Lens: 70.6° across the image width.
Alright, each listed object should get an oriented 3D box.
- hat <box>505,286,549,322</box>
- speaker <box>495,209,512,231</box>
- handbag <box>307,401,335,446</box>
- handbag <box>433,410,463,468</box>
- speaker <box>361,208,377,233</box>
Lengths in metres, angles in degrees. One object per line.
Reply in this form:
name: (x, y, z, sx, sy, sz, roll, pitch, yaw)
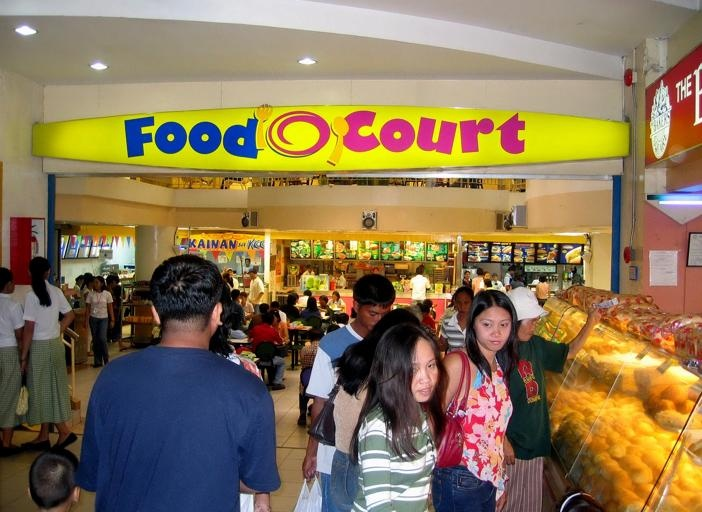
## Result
hat: (1.157, 0.314, 3.287, 0.264, 0.149, 0.199, 6, 9, 40)
speaker: (3.785, -0.860, 12.072, 0.480, 0.610, 0.449, 0, 4, 4)
handbag: (-0.154, 0.899, 2.679, 0.081, 0.244, 0.258, 1, -1, -33)
handbag: (0.511, 0.956, 2.543, 0.180, 0.273, 0.262, 2, -19, 4)
speaker: (0.399, -0.777, 10.652, 0.358, 0.410, 0.155, 1, -1, -2)
